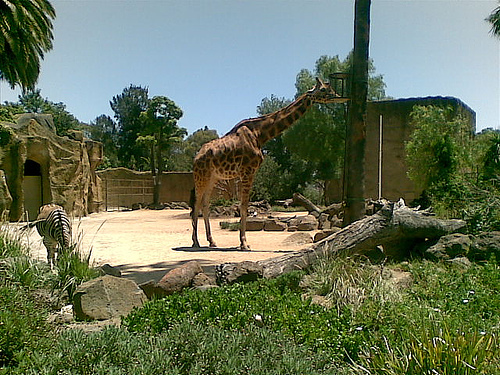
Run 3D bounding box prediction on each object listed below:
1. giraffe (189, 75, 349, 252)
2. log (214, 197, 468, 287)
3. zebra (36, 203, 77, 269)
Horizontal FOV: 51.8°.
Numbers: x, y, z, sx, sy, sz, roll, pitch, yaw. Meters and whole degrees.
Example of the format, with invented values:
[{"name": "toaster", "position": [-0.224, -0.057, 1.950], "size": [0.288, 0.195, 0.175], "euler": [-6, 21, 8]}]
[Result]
[{"name": "giraffe", "position": [0.079, -0.523, 12.965], "size": [3.245, 4.045, 1.290], "euler": [-1, -2, -4]}, {"name": "log", "position": [1.996, 0.859, 9.653], "size": [4.575, 1.430, 0.765], "euler": [-10, -7, -13]}, {"name": "zebra", "position": [-3.518, 0.838, 9.277], "size": [0.565, 1.169, 1.881], "euler": [0, -3, -27]}]
